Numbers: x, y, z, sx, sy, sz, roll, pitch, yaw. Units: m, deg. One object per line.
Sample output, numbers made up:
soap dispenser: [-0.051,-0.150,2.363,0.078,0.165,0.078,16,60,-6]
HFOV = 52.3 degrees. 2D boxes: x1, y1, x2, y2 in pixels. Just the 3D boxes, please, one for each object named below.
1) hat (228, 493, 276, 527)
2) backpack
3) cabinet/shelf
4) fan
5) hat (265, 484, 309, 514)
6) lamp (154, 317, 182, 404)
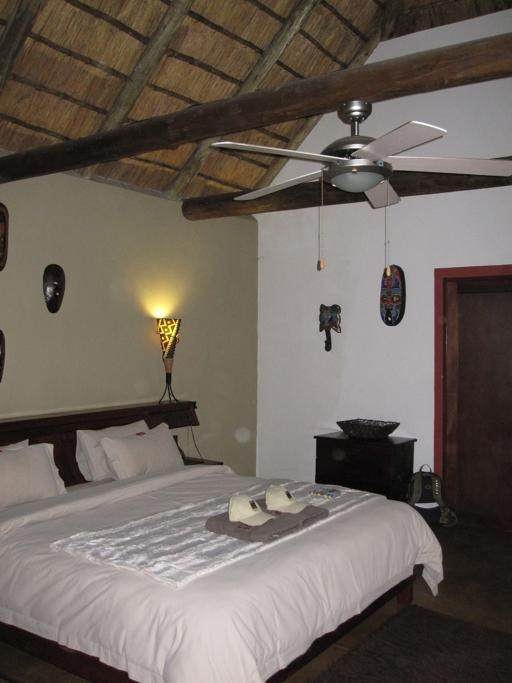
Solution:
hat: [-0.038,0.793,2.460,0.162,0.057,0.111,0,4,45]
backpack: [1.424,1.298,4.363,0.452,0.463,0.401,2,-6,-4]
cabinet/shelf: [0.917,1.219,4.594,0.858,0.775,0.505,-2,-6,42]
fan: [0.763,-1.239,3.439,1.537,0.448,1.415,0,-5,18]
hat: [0.132,0.800,2.661,0.152,0.062,0.109,3,7,43]
lamp: [-0.801,0.163,4.732,0.219,0.745,0.369,2,-3,-8]
